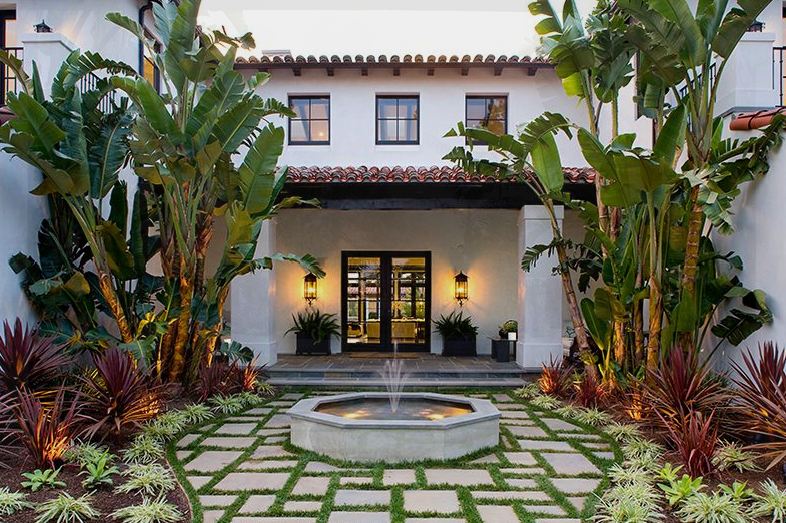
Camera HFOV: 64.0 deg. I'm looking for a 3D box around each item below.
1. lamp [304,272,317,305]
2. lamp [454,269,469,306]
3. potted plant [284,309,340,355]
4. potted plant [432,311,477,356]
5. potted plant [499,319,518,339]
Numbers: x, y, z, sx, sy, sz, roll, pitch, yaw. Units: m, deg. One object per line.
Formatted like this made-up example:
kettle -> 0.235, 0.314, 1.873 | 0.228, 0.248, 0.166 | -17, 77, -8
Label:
lamp -> -1.943, 0.624, 14.554 | 0.331, 0.745, 0.330 | 1, -2, 1
lamp -> 1.581, 0.616, 14.597 | 0.325, 0.802, 0.227 | 0, -2, 6
potted plant -> -1.837, 1.630, 14.564 | 0.968, 0.922, 1.041 | 0, -8, 0
potted plant -> 1.459, 1.641, 14.417 | 0.866, 0.917, 0.883 | 0, -7, -1
potted plant -> 2.463, 1.457, 13.604 | 0.343, 0.381, 0.347 | 10, -13, -39
